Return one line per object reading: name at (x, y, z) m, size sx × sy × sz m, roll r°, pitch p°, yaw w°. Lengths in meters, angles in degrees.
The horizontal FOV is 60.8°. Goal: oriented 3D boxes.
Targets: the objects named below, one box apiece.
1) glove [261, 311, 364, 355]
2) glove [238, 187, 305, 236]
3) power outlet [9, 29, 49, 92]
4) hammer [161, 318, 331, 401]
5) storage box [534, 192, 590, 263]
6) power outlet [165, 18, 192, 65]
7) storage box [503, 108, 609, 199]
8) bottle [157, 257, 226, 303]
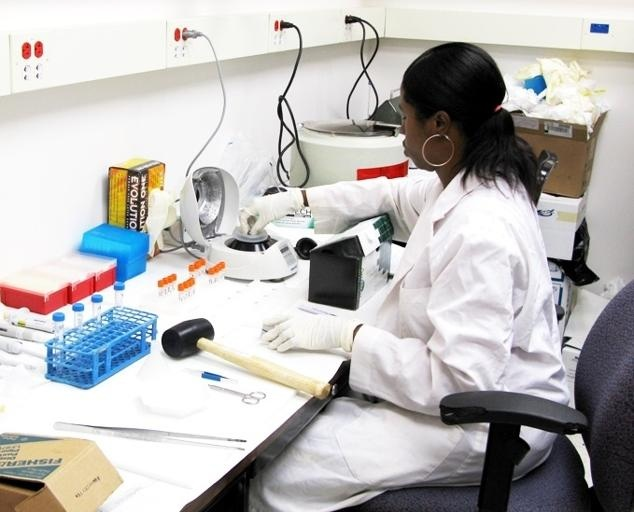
glove at (-0.015, 0.180, 1.378) m, size 0.191 × 0.066 × 0.120 m, roll 7°, pitch 33°, yaw 6°
glove at (-0.156, -0.148, 1.872) m, size 0.199 × 0.107 × 0.144 m, roll -13°, pitch 49°, yaw 0°
power outlet at (-0.738, -0.495, 1.383) m, size 0.030 × 0.141 × 0.096 m, roll 14°, pitch 16°, yaw 19°
hammer at (-0.169, 0.246, 1.303) m, size 0.396 × 0.085 × 0.095 m, roll 17°, pitch 14°, yaw 12°
storage box at (1.110, -0.151, 2.541) m, size 0.222 × 0.360 × 0.274 m, roll 9°, pitch 20°, yaw 26°
power outlet at (-0.470, -0.719, 1.835) m, size 0.028 × 0.144 × 0.111 m, roll 6°, pitch 19°, yaw 23°
storage box at (1.094, -0.502, 2.641) m, size 0.588 × 0.432 × 0.530 m, roll 13°, pitch 20°, yaw 26°
bottle at (-0.409, 0.066, 1.680) m, size 0.188 × 0.128 × 0.179 m, roll 3°, pitch 21°, yaw -1°
